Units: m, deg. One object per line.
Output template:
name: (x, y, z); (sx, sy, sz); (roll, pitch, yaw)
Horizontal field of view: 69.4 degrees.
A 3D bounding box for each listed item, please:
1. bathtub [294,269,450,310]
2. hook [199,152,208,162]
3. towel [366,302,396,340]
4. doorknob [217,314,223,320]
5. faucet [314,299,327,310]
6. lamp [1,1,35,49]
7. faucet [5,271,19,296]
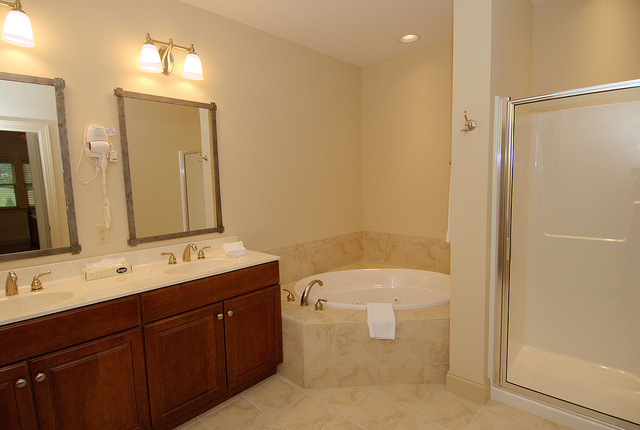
bathtub: (0.532, 0.741, 4.698); (1.468, 0.309, 0.459); (-2, 7, 1)
hook: (-1.007, -0.505, 3.987); (0.054, 0.028, 0.052); (15, 34, 14)
towel: (0.511, 0.892, 3.877); (0.232, 0.261, 0.238); (-2, 7, 5)
doorknob: (-0.773, 0.792, 3.585); (0.034, 0.025, 0.034); (-7, 10, -28)
faucet: (-0.007, 0.794, 4.081); (0.062, 0.075, 0.102); (0, -5, -45)
lamp: (-2.092, -1.324, 3.192); (0.183, 0.304, 0.200); (-7, 8, -29)
faucet: (-2.139, 0.473, 3.208); (0.084, 0.162, 0.085); (-9, 9, -42)
